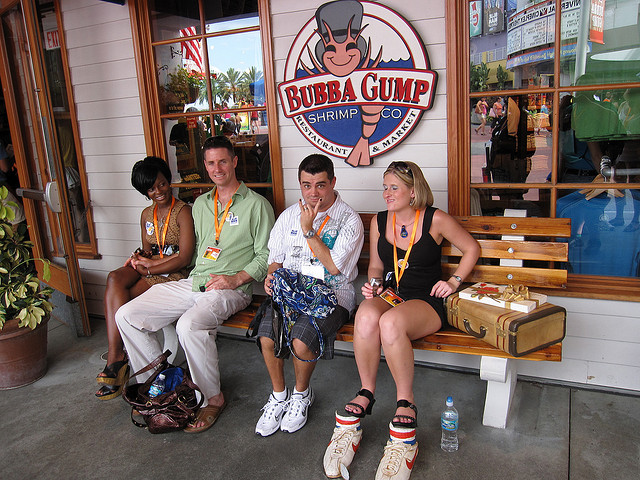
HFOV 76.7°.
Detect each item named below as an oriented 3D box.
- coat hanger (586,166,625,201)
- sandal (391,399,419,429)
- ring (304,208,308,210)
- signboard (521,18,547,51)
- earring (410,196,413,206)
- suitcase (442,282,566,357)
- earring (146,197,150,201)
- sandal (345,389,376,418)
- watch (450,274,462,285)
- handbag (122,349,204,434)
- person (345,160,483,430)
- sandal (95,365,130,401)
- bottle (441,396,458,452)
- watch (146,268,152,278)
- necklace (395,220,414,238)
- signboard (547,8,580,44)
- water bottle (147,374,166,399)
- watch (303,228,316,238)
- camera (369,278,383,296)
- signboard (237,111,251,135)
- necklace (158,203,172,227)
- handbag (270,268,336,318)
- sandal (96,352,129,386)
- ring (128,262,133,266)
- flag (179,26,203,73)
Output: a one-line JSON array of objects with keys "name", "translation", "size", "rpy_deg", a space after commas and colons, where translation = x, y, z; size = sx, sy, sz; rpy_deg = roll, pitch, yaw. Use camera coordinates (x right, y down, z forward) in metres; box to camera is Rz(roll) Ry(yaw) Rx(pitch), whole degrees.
[{"name": "coat hanger", "translation": [1.926, -0.385, 2.716], "size": [0.208, 0.208, 0.034], "rpy_deg": [6, 26, 36]}, {"name": "sandal", "translation": [0.473, 0.980, 2.286], "size": [0.137, 0.114, 0.135], "rpy_deg": [-3, 13, 7]}, {"name": "ring", "translation": [-0.092, -0.203, 2.679], "size": [0.021, 0.008, 0.006], "rpy_deg": [-4, 13, 0]}, {"name": "signboard", "translation": [1.435, -1.373, 2.701], "size": [0.204, 0.219, 0.020], "rpy_deg": [3, 11, 40]}, {"name": "earring", "translation": [0.600, -0.248, 2.653], "size": [0.017, 0.037, 0.005], "rpy_deg": [-2, 13, 10]}, {"name": "suitcase", "translation": [1.132, 0.474, 2.550], "size": [0.436, 0.249, 0.553], "rpy_deg": [-15, 15, -20]}, {"name": "earring", "translation": [-1.703, -0.396, 3.998], "size": [0.017, 0.027, 0.027], "rpy_deg": [-15, 16, -38]}, {"name": "sandal", "translation": [0.229, 0.966, 2.403], "size": [0.086, 0.109, 0.251], "rpy_deg": [-1, -12, 34]}, {"name": "watch", "translation": [0.908, 0.264, 2.712], "size": [0.055, 0.053, 0.053], "rpy_deg": [-25, -19, -50]}, {"name": "handbag", "translation": [-1.031, 1.060, 2.868], "size": [0.446, 0.265, 0.612], "rpy_deg": [-6, 11, 1]}, {"name": "person", "translation": [0.579, 0.260, 2.468], "size": [0.731, 1.415, 0.895], "rpy_deg": [1, 14, 21]}, {"name": "sandal", "translation": [-1.518, 1.079, 3.113], "size": [0.128, 0.149, 0.379], "rpy_deg": [3, 2, 18]}, {"name": "bottle", "translation": [0.784, 1.055, 2.454], "size": [0.098, 0.321, 0.267], "rpy_deg": [0, 14, 19]}, {"name": "watch", "translation": [-1.391, 0.274, 3.288], "size": [0.043, 0.064, 0.021], "rpy_deg": [1, 14, 22]}, {"name": "necklace", "translation": [0.577, -0.069, 2.726], "size": [0.104, 0.104, 0.016], "rpy_deg": [4, 6, 35]}, {"name": "signboard", "translation": [1.592, -1.393, 2.631], "size": [0.216, 0.201, 0.022], "rpy_deg": [9, 22, 35]}, {"name": "water bottle", "translation": [-1.103, 0.988, 2.725], "size": [0.068, 0.047, 0.177], "rpy_deg": [17, 46, 1]}, {"name": "watch", "translation": [-0.072, -0.031, 2.733], "size": [0.059, 0.041, 0.064], "rpy_deg": [-14, 25, 36]}, {"name": "camera", "translation": [0.375, 0.312, 2.741], "size": [0.074, 0.084, 0.163], "rpy_deg": [3, 15, 29]}, {"name": "signboard", "translation": [-0.657, -1.010, 3.526], "size": [0.115, 0.185, 0.011], "rpy_deg": [1, 14, 22]}, {"name": "necklace", "translation": [-1.291, -0.204, 3.371], "size": [0.143, 0.186, 0.057], "rpy_deg": [-2, 13, 10]}, {"name": "handbag", "translation": [-0.115, 0.396, 2.670], "size": [0.372, 0.159, 0.267], "rpy_deg": [22, 49, 2]}, {"name": "sandal", "translation": [-1.543, 0.972, 3.026], "size": [0.119, 0.134, 0.346], "rpy_deg": [1, 0, 4]}, {"name": "ring", "translation": [-1.546, 0.199, 3.299], "size": [0.043, 0.026, 0.010], "rpy_deg": [6, 17, 39]}, {"name": "flag", "translation": [-1.131, -1.666, 3.628], "size": [0.216, 0.030, 0.436], "rpy_deg": [10, -29, -13]}]
